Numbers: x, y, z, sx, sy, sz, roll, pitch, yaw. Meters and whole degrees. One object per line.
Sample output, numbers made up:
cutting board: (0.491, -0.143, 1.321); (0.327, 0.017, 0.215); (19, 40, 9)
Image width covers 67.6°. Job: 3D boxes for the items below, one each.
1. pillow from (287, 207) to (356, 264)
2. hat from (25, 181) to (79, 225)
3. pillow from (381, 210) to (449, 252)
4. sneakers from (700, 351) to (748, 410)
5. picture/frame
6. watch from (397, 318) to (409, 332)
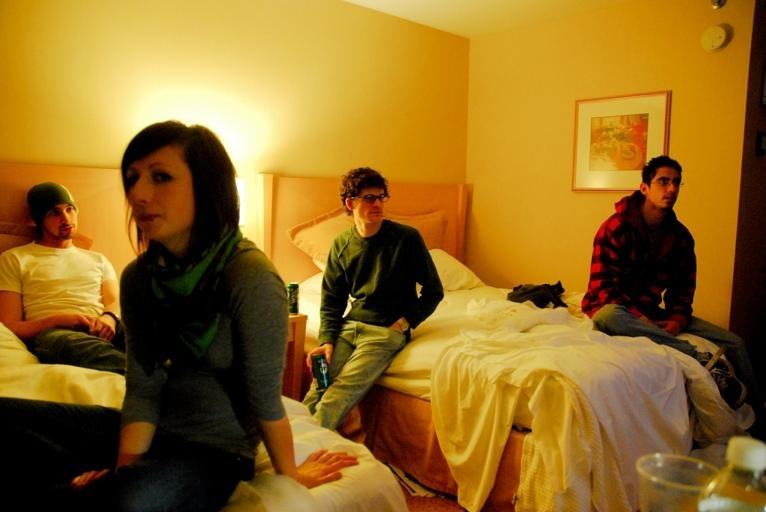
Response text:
pillow: (-0.416, -0.164, 4.191); (0.393, 0.095, 0.387); (-27, 65, -31)
hat: (-1.883, -0.313, 3.310); (0.201, 0.212, 0.277); (9, 24, 42)
pillow: (0.220, -0.184, 4.093); (0.352, 0.314, 0.121); (-5, 0, -8)
sneakers: (1.799, 0.668, 3.027); (0.108, 0.285, 0.103); (-26, -19, 2)
picture/frame: (1.821, -0.864, 4.277); (0.863, 0.873, 0.032); (10, 6, 38)
watch: (0.113, 0.392, 3.252); (0.052, 0.062, 0.068); (-11, 11, -13)
